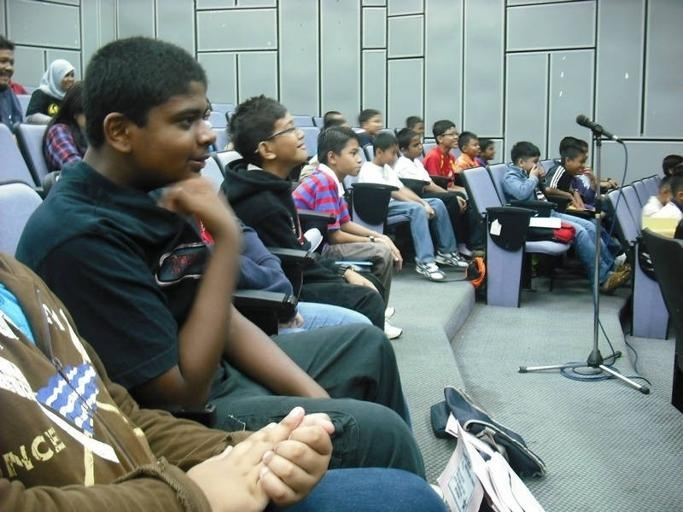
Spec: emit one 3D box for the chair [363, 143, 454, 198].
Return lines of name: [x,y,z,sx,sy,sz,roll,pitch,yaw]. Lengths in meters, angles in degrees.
chair: [0.647,-0.929,6.074,0.622,0.776,0.773,4,7,29]

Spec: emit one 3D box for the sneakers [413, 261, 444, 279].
sneakers: [0.778,0.130,5.436,0.118,0.117,0.298,16,11,-38]

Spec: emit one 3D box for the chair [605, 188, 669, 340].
chair: [2.157,0.078,4.384,0.360,0.671,1.138,-1,6,19]

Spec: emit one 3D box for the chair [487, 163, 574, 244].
chair: [1.680,-0.485,5.494,0.742,0.938,0.636,-2,6,17]

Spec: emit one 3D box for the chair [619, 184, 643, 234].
chair: [2.236,-0.354,4.656,0.166,0.221,0.552,1,46,21]

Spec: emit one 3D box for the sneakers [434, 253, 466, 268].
sneakers: [1.061,0.014,5.920,0.340,0.166,0.125,5,15,10]

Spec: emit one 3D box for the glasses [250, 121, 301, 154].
glasses: [-0.337,-0.596,2.894,0.169,0.054,0.134,-30,20,2]

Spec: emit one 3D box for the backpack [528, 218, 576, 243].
backpack: [1.812,-0.211,5.173,0.311,0.127,0.267,1,11,8]

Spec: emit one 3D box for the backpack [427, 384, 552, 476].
backpack: [0.617,0.818,2.535,0.422,0.159,0.305,39,6,-7]

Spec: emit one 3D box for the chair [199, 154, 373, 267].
chair: [-0.226,-0.192,3.138,0.681,0.752,0.558,-4,22,-4]

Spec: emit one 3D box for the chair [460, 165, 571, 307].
chair: [1.528,-0.207,5.736,1.072,1.606,1.148,0,6,15]
